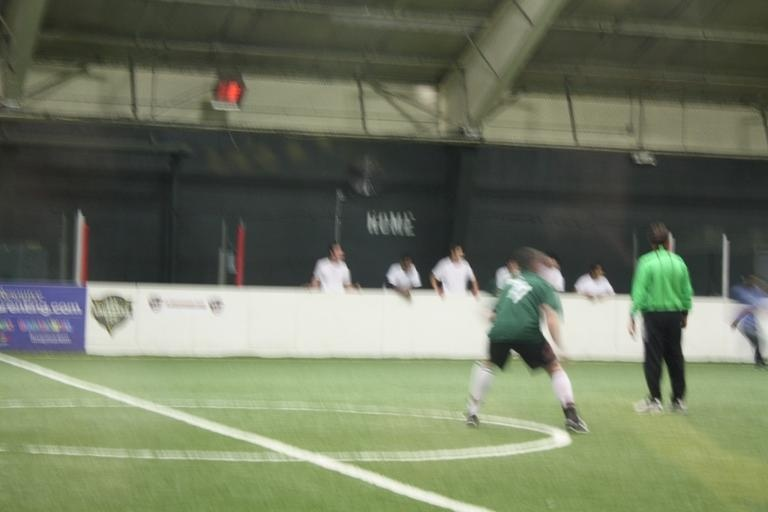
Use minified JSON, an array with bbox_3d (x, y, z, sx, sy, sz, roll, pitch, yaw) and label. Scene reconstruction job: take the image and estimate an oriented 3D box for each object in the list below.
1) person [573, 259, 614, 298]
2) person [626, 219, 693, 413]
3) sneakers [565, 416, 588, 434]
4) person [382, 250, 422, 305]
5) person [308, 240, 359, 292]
[{"bbox_3d":[4.851,0.580,24.560,1.008,0.790,1.114,5,1,13],"label":"person"},{"bbox_3d":[4.662,1.029,18.089,1.024,3.152,0.520,-2,-3,4],"label":"person"},{"bbox_3d":[3.079,2.661,17.006,0.399,0.270,0.295,-2,-4,1],"label":"sneakers"},{"bbox_3d":[0.474,0.561,23.784,0.824,0.682,1.253,-6,-39,-12],"label":"person"},{"bbox_3d":[-1.030,0.334,23.084,1.065,1.259,0.693,9,28,-4],"label":"person"}]
